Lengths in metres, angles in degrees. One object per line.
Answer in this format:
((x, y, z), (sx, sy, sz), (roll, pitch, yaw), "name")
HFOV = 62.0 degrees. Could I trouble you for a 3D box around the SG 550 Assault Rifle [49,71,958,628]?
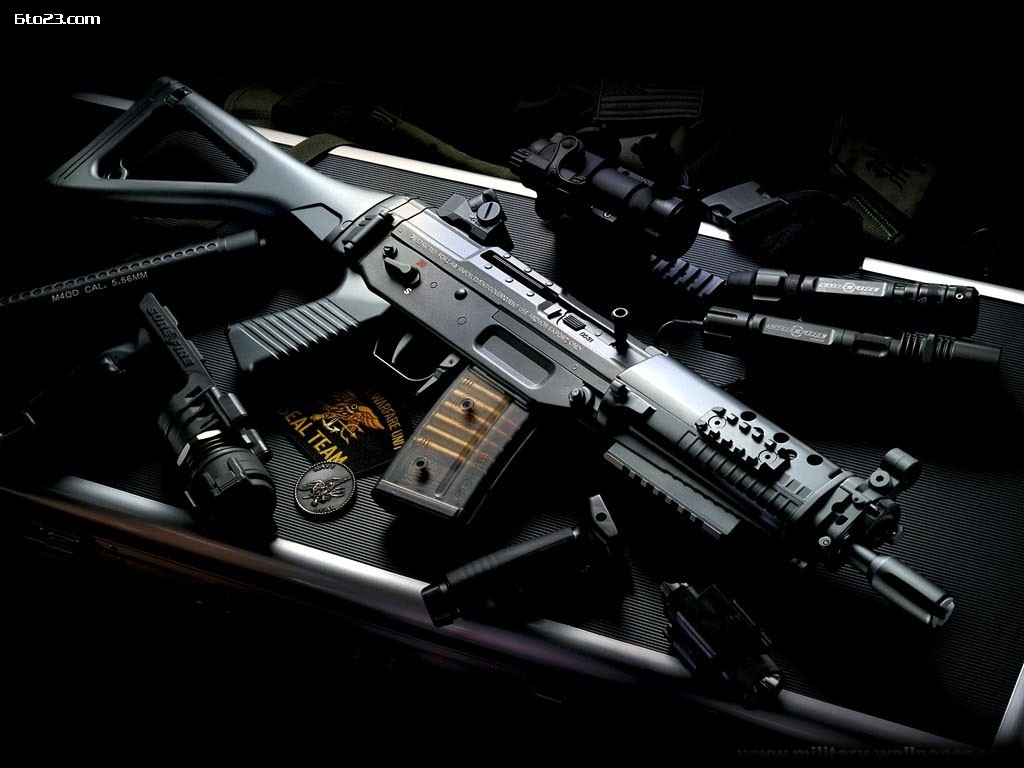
((0.005, -0.070, 2.861), (2.697, 0.399, 0.951), (34, 70, 21), "SG 550 Assault Rifle")
